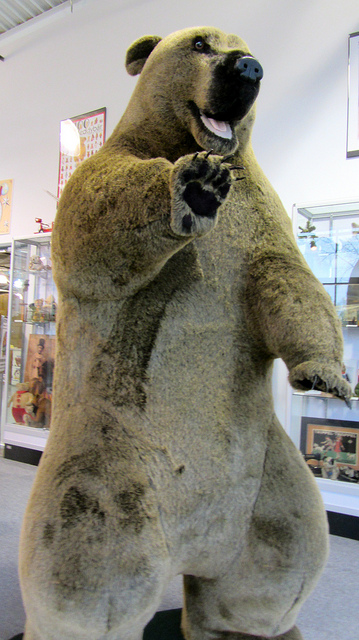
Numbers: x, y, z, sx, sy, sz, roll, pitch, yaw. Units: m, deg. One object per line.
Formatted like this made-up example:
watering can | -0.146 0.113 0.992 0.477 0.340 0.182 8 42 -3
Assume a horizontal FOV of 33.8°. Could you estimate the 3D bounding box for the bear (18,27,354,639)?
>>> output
bear | 0.026 0.031 0.985 0.522 1.097 0.406 3 -3 -14
